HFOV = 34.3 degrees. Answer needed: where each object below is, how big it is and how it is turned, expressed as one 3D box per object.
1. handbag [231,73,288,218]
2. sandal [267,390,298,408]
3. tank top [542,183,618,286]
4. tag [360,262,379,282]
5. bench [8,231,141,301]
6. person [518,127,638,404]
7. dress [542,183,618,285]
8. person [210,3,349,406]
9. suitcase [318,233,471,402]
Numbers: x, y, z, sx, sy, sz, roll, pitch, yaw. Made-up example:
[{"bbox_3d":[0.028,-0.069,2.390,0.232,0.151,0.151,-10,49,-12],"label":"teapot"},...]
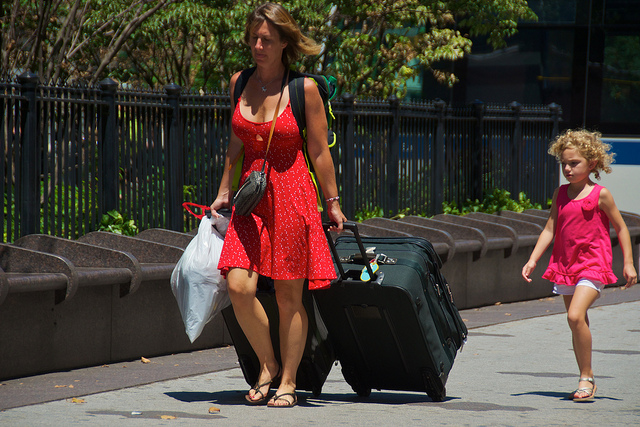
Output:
[{"bbox_3d":[-0.469,-0.547,8.616,0.507,1.157,0.207,-3,8,-30],"label":"handbag"},{"bbox_3d":[-0.325,1.575,8.798,0.202,0.067,0.113,2,0,9],"label":"sandal"},{"bbox_3d":[2.327,0.191,9.317,0.513,0.923,0.681,4,1,-36],"label":"tank top"},{"bbox_3d":[0.421,0.496,8.777,0.155,0.156,0.099,1,7,0],"label":"tag"},{"bbox_3d":[-2.483,0.467,10.234,0.963,0.407,0.716,8,5,37],"label":"bench"},{"bbox_3d":[2.314,0.456,9.220,0.926,2.366,0.649,3,7,18],"label":"person"},{"bbox_3d":[2.291,0.235,9.273,0.447,1.092,0.660,0,0,1],"label":"dress"},{"bbox_3d":[-0.340,-0.079,8.777,0.981,3.392,0.504,1,7,0],"label":"person"},{"bbox_3d":[0.596,0.963,9.028,1.014,1.704,0.922,2,42,31],"label":"suitcase"}]
